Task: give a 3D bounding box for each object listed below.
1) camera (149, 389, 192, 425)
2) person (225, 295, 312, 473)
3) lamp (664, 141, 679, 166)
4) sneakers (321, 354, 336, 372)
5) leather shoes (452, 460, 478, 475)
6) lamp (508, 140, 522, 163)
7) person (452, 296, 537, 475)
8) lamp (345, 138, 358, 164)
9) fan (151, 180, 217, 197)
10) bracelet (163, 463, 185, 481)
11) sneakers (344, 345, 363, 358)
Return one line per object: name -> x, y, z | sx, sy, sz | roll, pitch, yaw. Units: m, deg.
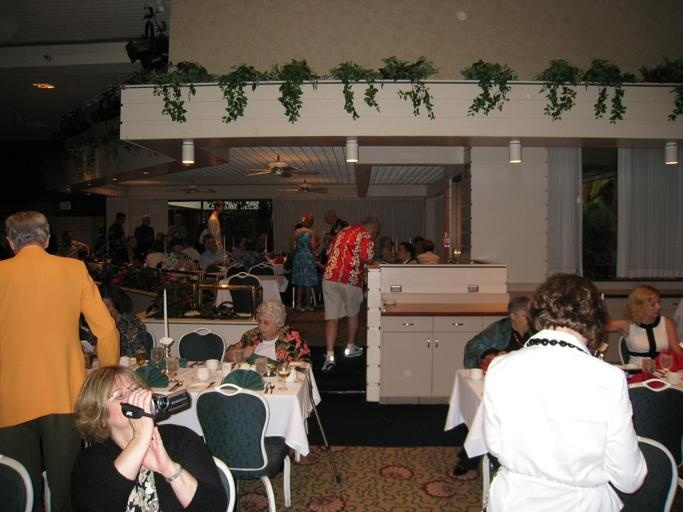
camera -> -1.146, 1.004, 4.699 | 0.236, 0.249, 0.371 | 0, 1, -8
person -> -0.751, 1.430, 7.316 | 0.871, 1.983, 0.592 | -3, 18, -1
lamp -> 4.357, -1.361, 9.139 | 0.142, 0.267, 0.299 | 1, 1, 28
sneakers -> -0.199, 1.417, 9.017 | 0.107, 0.229, 0.321 | 8, -35, -13
leather shoes -> 1.229, 2.142, 6.923 | 0.226, 0.236, 0.116 | 0, 1, -4
lamp -> 2.286, -1.382, 9.118 | 0.134, 0.272, 0.202 | 0, 1, 8
person -> 1.643, 1.346, 7.267 | 0.801, 1.958, 0.654 | 14, 20, 6
lamp -> 0.141, -1.389, 9.163 | 0.157, 0.278, 0.439 | 0, 1, -1
fan -> -3.773, -1.611, 16.916 | 1.316, 0.280, 2.954 | 0, 1, -9
bracelet -> -1.126, 1.485, 4.711 | 0.094, 0.107, 0.027 | 29, 16, 8
sneakers -> 0.159, 1.271, 9.230 | 0.244, 0.192, 0.246 | 0, 1, -1
